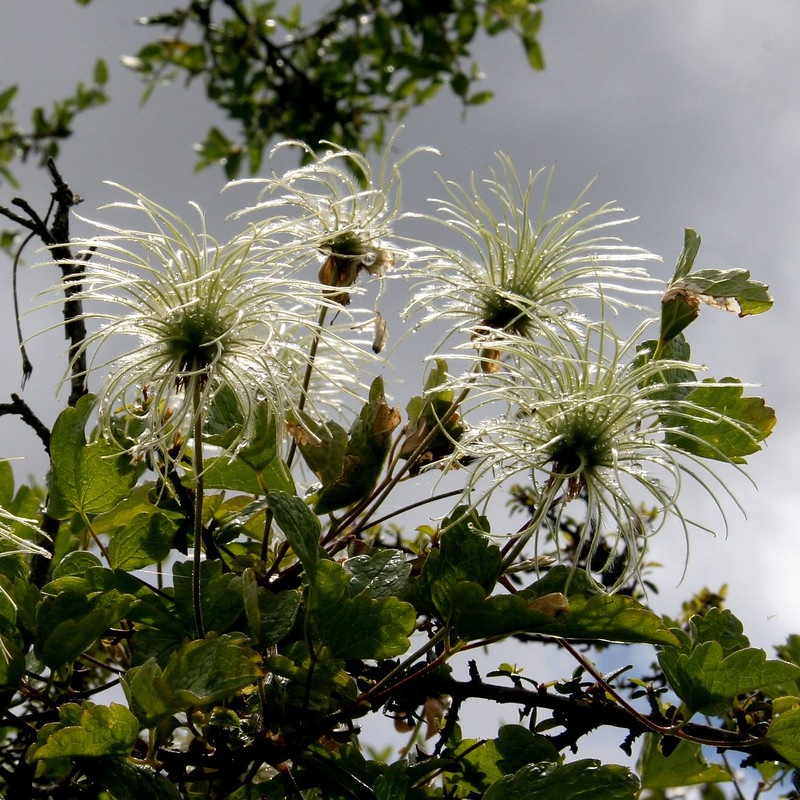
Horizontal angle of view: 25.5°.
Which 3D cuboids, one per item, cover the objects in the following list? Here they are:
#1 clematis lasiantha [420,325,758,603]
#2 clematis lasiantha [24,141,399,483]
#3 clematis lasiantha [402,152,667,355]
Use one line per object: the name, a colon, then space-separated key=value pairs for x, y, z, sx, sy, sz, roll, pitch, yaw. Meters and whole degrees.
clematis lasiantha: x=0.355 y=0.066 z=3.351 sx=0.451 sy=0.445 sz=0.269 roll=3 pitch=-61 yaw=-28
clematis lasiantha: x=-0.383 y=-0.140 z=3.297 sx=0.487 sy=0.429 sz=0.270 roll=-20 pitch=-78 yaw=-17
clematis lasiantha: x=0.219 y=-0.205 z=3.608 sx=0.435 sy=0.287 sz=0.450 roll=-2 pitch=-13 yaw=-2
